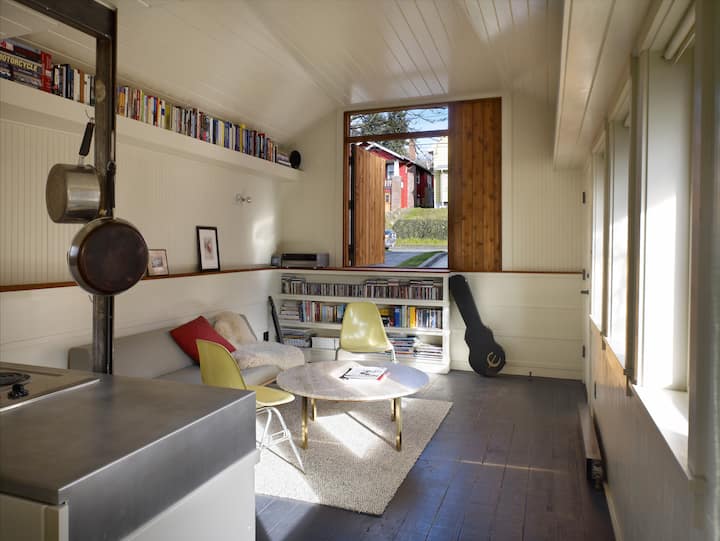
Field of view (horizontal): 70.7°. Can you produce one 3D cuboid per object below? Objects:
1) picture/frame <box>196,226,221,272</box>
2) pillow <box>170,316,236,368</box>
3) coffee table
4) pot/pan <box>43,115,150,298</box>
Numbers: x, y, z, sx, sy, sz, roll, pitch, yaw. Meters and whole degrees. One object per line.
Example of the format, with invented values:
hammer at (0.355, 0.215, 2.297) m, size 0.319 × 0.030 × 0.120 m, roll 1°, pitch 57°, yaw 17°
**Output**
picture/frame at (-1.698, -0.233, 5.679) m, size 0.024 × 0.581 × 0.482 m, roll -5°, pitch 1°, yaw 18°
pillow at (-1.532, 0.642, 4.855) m, size 0.521 × 0.151 × 0.510 m, roll 29°, pitch 28°, yaw 24°
coffee table at (-0.056, 0.920, 3.907) m, size 0.722 × 0.313 × 0.759 m, roll 0°, pitch 3°, yaw 21°
pot/pan at (-1.028, -0.184, 1.972) m, size 0.353 × 0.708 × 0.190 m, roll -6°, pitch -5°, yaw -25°
